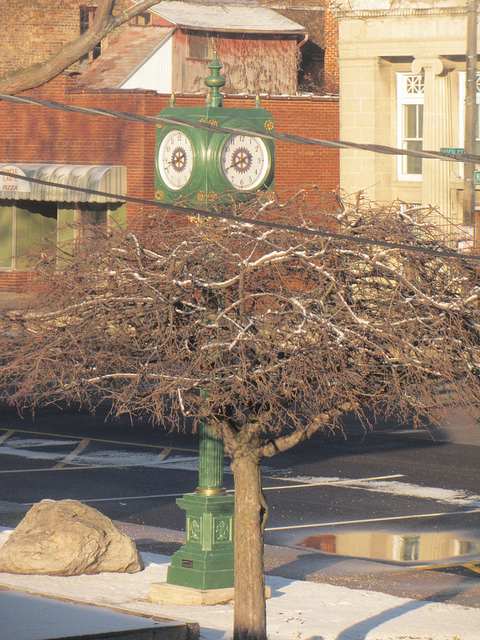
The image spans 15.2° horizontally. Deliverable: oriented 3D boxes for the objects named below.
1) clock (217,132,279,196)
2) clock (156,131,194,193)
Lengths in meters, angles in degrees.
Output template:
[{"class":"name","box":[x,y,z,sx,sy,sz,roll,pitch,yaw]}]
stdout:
[{"class":"clock","box":[0.053,-1.515,16.940,0.634,0.696,0.054,-1,4,-28]},{"class":"clock","box":[-0.583,-1.496,16.796,0.172,0.585,0.479,0,2,-31]}]
